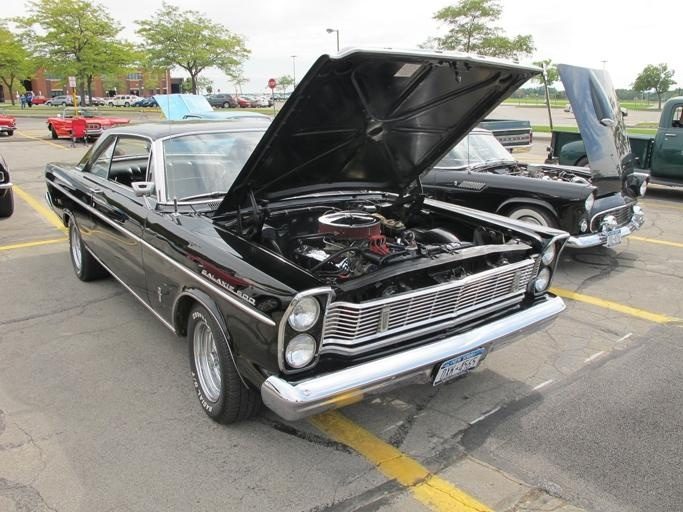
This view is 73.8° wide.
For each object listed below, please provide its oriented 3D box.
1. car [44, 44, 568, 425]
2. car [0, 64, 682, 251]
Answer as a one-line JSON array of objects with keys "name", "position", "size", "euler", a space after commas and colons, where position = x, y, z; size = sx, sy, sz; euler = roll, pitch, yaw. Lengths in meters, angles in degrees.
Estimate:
[{"name": "car", "position": [-0.293, -0.317, 4.068], "size": [2.679, 2.693, 3.467], "euler": [-15, 25, -38]}, {"name": "car", "position": [2.225, -1.939, 7.999], "size": [5.615, 2.085, 3.267], "euler": [20, 31, 34]}]
